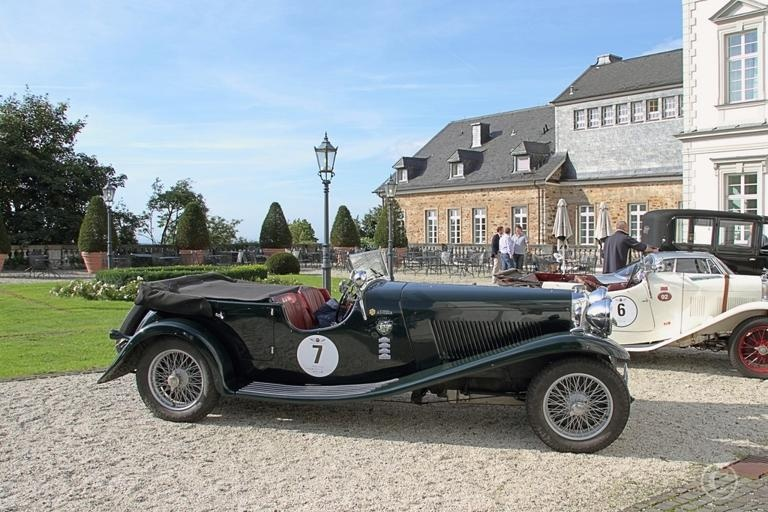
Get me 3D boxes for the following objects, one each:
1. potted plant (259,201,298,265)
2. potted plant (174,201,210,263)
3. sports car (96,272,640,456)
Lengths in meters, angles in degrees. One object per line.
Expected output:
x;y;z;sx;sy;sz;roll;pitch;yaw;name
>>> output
-5.943;-1.580;36.933;1.651;2.834;1.042;-4;15;-14;potted plant
-8.261;-1.089;29.167;1.356;2.270;3.118;-4;15;-15;potted plant
-0.056;1.075;9.149;6.251;1.936;2.775;1;4;9;sports car
